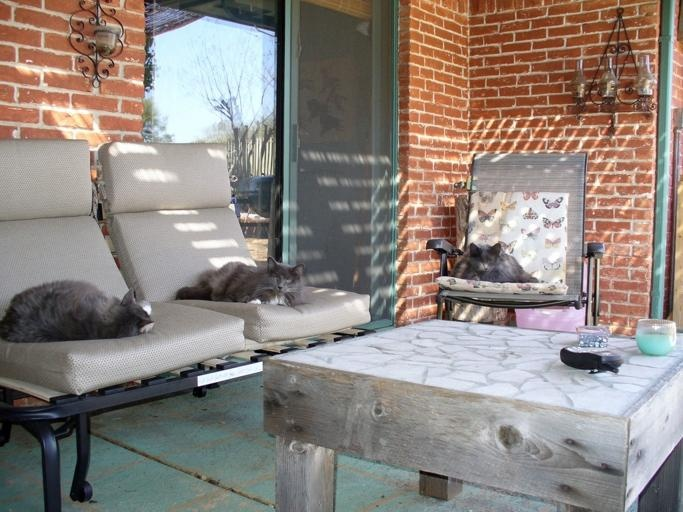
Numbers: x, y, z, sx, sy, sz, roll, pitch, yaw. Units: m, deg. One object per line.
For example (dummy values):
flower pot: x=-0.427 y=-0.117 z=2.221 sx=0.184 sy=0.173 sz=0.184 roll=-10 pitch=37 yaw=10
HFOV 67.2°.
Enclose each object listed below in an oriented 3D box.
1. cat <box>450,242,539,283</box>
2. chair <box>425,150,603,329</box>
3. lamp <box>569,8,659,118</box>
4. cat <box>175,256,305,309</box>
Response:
cat: x=1.024 y=0.005 z=3.522 sx=0.569 sy=0.260 sz=0.506 roll=4 pitch=6 yaw=26
chair: x=1.291 y=-0.136 z=3.702 sx=1.263 sy=1.344 sz=0.912 roll=3 pitch=7 yaw=27
lamp: x=2.085 y=-1.444 z=3.891 sx=0.603 sy=0.769 sz=0.290 roll=3 pitch=9 yaw=31
cat: x=-0.438 y=0.069 z=2.556 sx=0.527 sy=0.247 sz=0.552 roll=6 pitch=6 yaw=26
